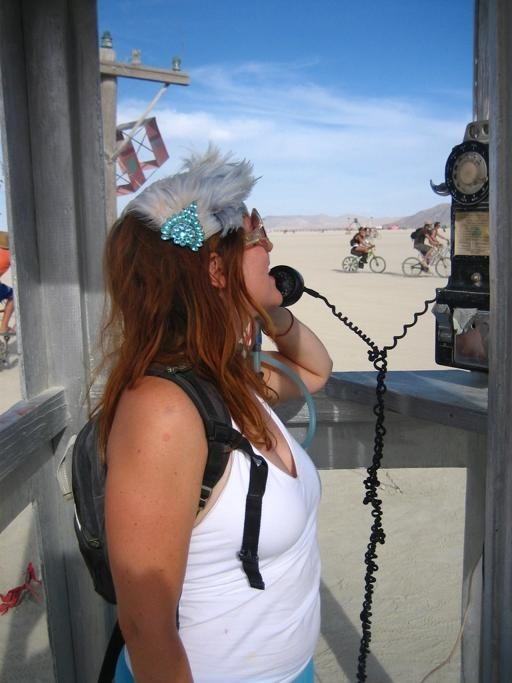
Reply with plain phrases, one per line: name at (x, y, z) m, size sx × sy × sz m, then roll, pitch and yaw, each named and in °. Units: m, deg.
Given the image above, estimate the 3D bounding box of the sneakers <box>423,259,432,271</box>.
sneakers at (5.329, -2.390, 18.423) m, size 0.258 × 0.371 × 0.113 m, roll 13°, pitch -14°, yaw -33°

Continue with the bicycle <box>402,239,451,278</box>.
bicycle at (5.442, -2.554, 18.826) m, size 1.231 × 1.014 × 1.896 m, roll 0°, pitch 9°, yaw -11°

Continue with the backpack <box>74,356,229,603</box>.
backpack at (-0.208, 0.303, 1.100) m, size 0.309 × 0.501 × 0.350 m, roll -1°, pitch -3°, yaw 3°

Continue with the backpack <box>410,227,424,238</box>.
backpack at (4.654, -3.126, 17.119) m, size 0.152 × 0.451 × 0.330 m, roll 26°, pitch 19°, yaw 6°

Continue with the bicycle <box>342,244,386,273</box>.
bicycle at (3.663, -2.679, 19.896) m, size 1.570 × 1.042 × 0.818 m, roll -4°, pitch 35°, yaw -1°
